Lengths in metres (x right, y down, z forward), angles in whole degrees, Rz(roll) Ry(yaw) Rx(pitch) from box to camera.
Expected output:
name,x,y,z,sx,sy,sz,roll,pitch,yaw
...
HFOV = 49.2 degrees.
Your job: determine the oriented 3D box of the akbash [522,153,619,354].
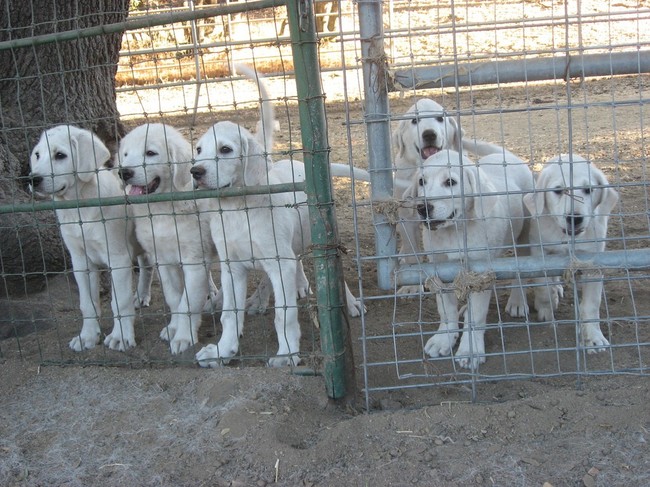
name,x,y,z,sx,sy,sz,roll,pitch,yaw
akbash,1.922,0.029,5.492,0.701,1.585,1.412,-2,13,17
